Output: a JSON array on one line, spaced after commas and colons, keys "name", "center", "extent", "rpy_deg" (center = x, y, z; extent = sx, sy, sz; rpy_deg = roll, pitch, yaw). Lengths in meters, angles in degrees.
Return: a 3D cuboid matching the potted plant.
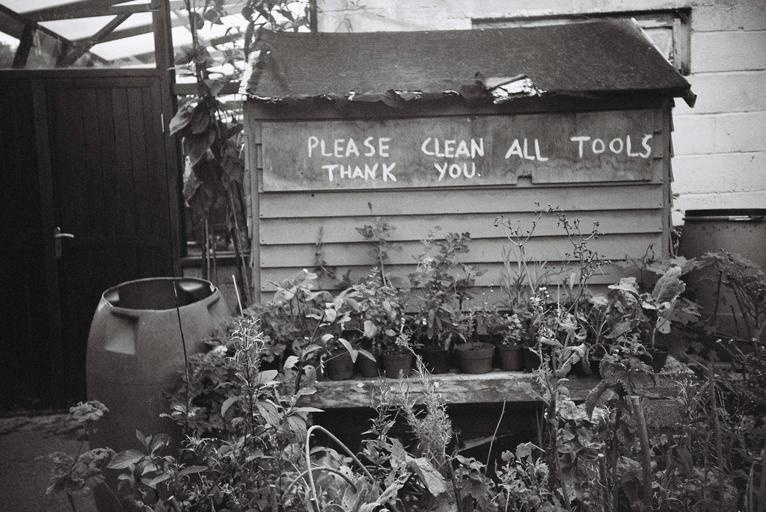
[{"name": "potted plant", "center": [0.869, 0.234, 6.612], "extent": [2.839, 1.331, 0.628], "rpy_deg": [0, 3, -5]}]
